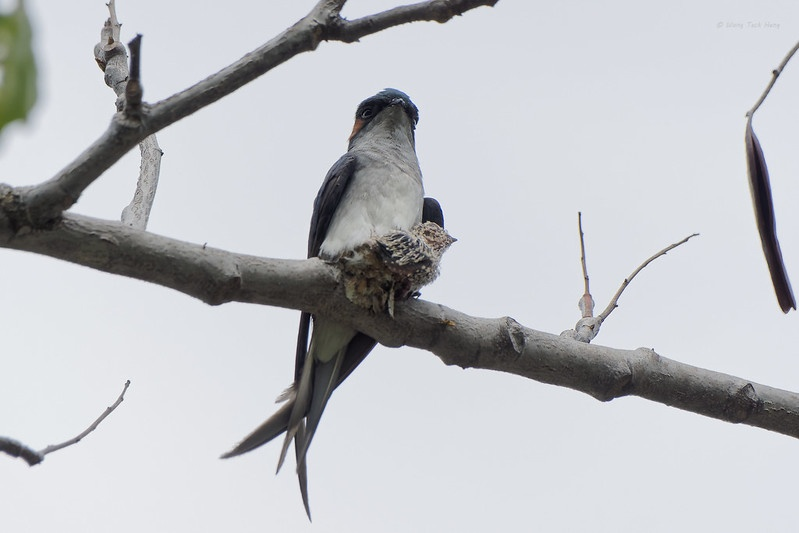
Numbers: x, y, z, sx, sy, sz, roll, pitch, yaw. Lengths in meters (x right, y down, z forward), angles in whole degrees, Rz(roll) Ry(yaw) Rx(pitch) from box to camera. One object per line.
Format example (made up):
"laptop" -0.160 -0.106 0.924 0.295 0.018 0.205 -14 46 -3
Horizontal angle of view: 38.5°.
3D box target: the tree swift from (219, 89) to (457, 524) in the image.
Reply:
"tree swift" -0.243 0.101 5.407 0.542 1.002 1.836 22 -93 -24
